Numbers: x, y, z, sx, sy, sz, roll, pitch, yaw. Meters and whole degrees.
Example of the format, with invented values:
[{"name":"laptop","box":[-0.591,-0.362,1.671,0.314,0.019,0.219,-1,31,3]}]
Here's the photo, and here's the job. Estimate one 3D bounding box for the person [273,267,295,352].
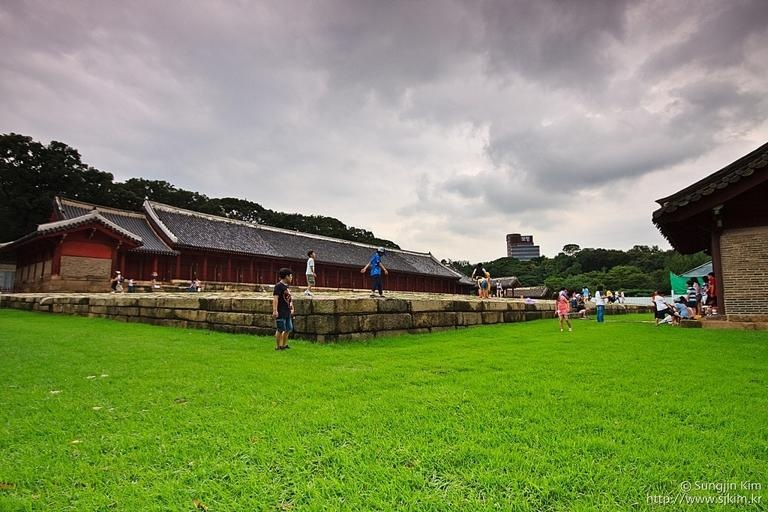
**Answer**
[{"name":"person","box":[-2.095,1.100,9.158,0.372,1.656,0.890,-3,9,-14]}]
